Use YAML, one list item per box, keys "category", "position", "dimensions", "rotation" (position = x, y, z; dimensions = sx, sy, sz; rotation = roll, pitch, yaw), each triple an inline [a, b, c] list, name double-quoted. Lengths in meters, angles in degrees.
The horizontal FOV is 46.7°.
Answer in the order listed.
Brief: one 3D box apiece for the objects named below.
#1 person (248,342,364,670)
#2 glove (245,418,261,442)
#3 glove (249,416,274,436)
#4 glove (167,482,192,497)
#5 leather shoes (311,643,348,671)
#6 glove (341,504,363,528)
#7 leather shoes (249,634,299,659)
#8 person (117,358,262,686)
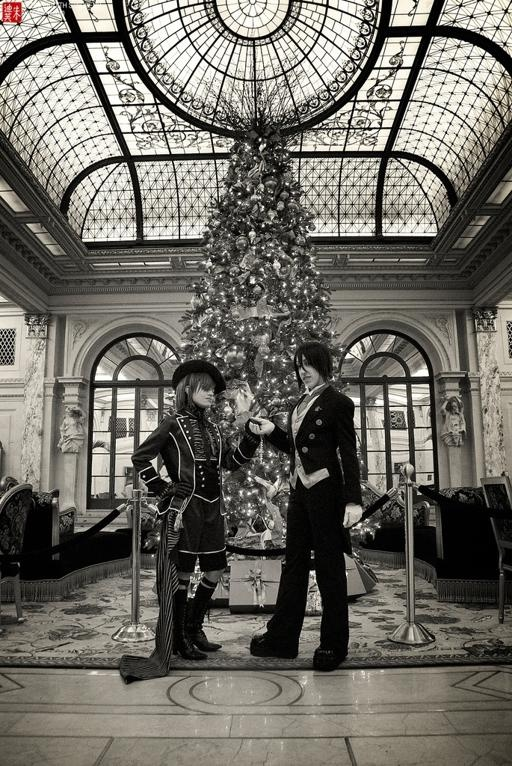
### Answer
- category: "person"
  position: [0.263, 0.605, 2.641]
  dimensions: [0.555, 1.208, 0.219]
  rotation: [-10, -13, 42]
- category: "glove"
  position: [0.004, 0.224, 2.736]
  dimensions: [0.032, 0.108, 0.079]
  rotation: [-16, -2, -19]
- category: "glove"
  position: [0.034, 0.198, 2.744]
  dimensions: [0.086, 0.092, 0.163]
  rotation: [-9, -2, 28]
- category: "glove"
  position: [-0.333, 0.476, 2.623]
  dimensions: [0.102, 0.069, 0.021]
  rotation: [1, -10, -12]
- category: "leather shoes"
  position: [0.314, 1.143, 2.471]
  dimensions: [0.182, 0.086, 0.094]
  rotation: [7, -13, -38]
- category: "glove"
  position: [0.396, 0.557, 2.480]
  dimensions: [0.092, 0.103, 0.071]
  rotation: [4, 0, 8]
- category: "leather shoes"
  position: [0.085, 1.163, 2.672]
  dimensions: [0.211, 0.099, 0.095]
  rotation: [3, -9, 24]
- category: "person"
  position: [-0.306, 0.566, 2.737]
  dimensions: [0.626, 1.364, 0.527]
  rotation: [3, -11, -21]
